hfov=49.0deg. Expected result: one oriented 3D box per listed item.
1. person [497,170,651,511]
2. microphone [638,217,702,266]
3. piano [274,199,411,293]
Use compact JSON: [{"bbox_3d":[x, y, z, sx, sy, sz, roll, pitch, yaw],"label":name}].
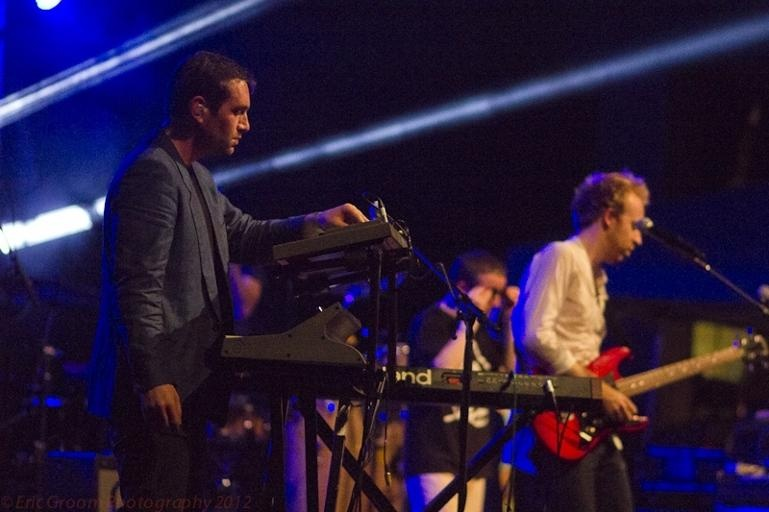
[{"bbox_3d":[1.337,0.490,5.777,0.923,2.427,0.537,0,-18,10],"label":"person"},{"bbox_3d":[2.629,-0.150,7.707,0.634,0.159,0.171,35,-49,-6],"label":"microphone"},{"bbox_3d":[-0.254,-0.074,5.002,0.605,0.400,0.585,-18,-18,14],"label":"piano"}]
